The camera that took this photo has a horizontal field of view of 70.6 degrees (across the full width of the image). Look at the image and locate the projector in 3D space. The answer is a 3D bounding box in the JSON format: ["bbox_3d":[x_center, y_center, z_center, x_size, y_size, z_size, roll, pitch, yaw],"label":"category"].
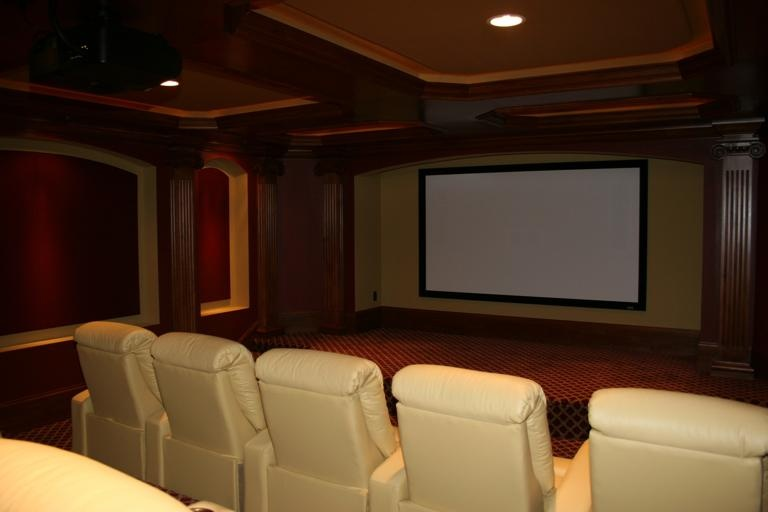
[{"bbox_3d":[-1.898,-1.349,3.698,0.955,0.343,0.414,-2,5,-22],"label":"projector"}]
